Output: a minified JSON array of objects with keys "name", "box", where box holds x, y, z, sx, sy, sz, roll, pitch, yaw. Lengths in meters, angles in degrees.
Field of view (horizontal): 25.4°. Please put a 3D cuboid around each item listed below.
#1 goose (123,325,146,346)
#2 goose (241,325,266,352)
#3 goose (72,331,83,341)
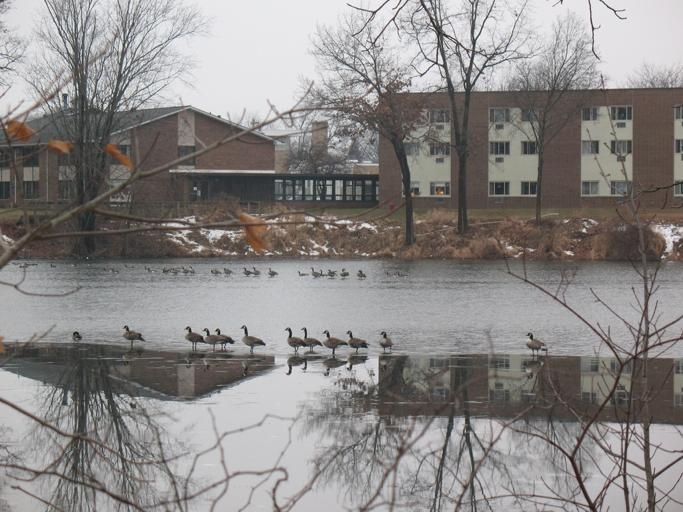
[{"name":"goose","box":[-7.833,3.067,57.613,1.047,0.873,0.503,4,6,44]},{"name":"goose","box":[-3.365,3.220,57.540,1.252,1.125,0.541,7,4,25]},{"name":"goose","box":[-10.018,3.178,58.042,0.266,0.174,0.368,17,29,-24]}]
